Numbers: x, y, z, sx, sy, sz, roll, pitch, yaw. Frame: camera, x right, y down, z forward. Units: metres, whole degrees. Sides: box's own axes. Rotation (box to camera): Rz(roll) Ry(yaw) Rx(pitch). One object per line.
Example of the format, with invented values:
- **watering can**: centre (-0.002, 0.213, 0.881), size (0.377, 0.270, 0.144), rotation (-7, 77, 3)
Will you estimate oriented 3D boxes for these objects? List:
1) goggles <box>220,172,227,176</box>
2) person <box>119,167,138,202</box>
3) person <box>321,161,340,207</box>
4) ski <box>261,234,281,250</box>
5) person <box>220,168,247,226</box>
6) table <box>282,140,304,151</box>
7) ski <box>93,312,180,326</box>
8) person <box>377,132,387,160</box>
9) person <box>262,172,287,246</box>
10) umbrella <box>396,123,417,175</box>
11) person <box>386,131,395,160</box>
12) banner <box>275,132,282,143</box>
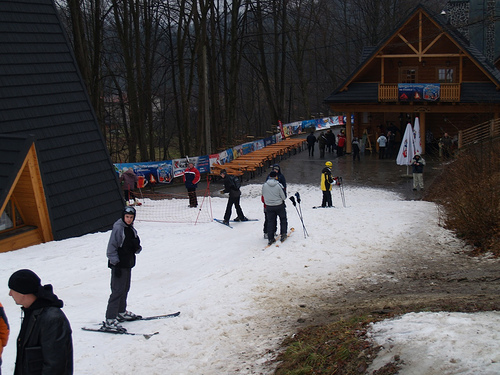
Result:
- **goggles**: centre (-0.995, -0.515, 19.372), size (0.181, 0.062, 0.205), rotation (-11, -6, 34)
- **person**: centre (-5.389, -0.080, 23.188), size (0.754, 1.530, 1.641), rotation (-3, 10, -13)
- **person**: centre (3.121, -0.100, 20.751), size (0.473, 1.924, 1.225), rotation (1, 10, 9)
- **ski**: centre (0.654, 1.698, 16.022), size (0.660, 0.075, 0.073), rotation (-42, 6, -34)
- **person**: centre (-0.628, 0.318, 19.473), size (0.867, 2.038, 1.136), rotation (-1, 10, -4)
- **table**: centre (3.352, -3.219, 39.502), size (1.333, 0.826, 2.244), rotation (0, 11, 6)
- **ski**: centre (-2.439, 2.781, 11.514), size (2.306, 0.245, 0.269), rotation (-3, -1, -11)
- **person**: centre (8.871, -2.764, 34.732), size (0.541, 1.581, 1.942), rotation (2, 11, 14)
- **person**: centre (0.759, 0.629, 16.049), size (0.758, 2.189, 0.895), rotation (0, 9, 2)
- **umbrella**: centre (7.956, -1.965, 26.157), size (0.477, 2.465, 0.773), rotation (6, 17, 25)
- **person**: centre (9.340, -2.792, 34.429), size (0.462, 1.716, 1.388), rotation (1, 10, 13)
- **banner**: centre (2.222, -3.855, 40.049), size (0.047, 0.714, 0.924), rotation (0, 21, 22)
